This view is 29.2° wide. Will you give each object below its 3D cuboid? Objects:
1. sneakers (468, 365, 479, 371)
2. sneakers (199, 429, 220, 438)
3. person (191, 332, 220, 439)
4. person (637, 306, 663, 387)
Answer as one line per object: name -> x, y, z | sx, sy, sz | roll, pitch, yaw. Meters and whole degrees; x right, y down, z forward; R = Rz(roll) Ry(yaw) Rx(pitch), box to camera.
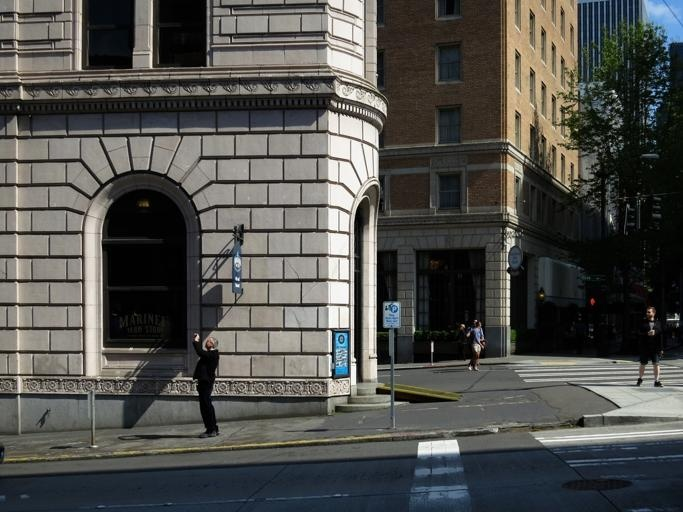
sneakers -> 5.231, 4.424, 51.491 | 0.150, 0.196, 0.456 | 1, 2, 32
sneakers -> -3.879, 5.109, 37.547 | 0.494, 0.217, 0.217 | 5, -4, 0
person -> -4.040, 3.756, 38.247 | 0.748, 2.991, 1.450 | -1, -5, -6
person -> 10.135, 2.979, 42.794 | 1.086, 2.596, 0.671 | 3, -6, -38
